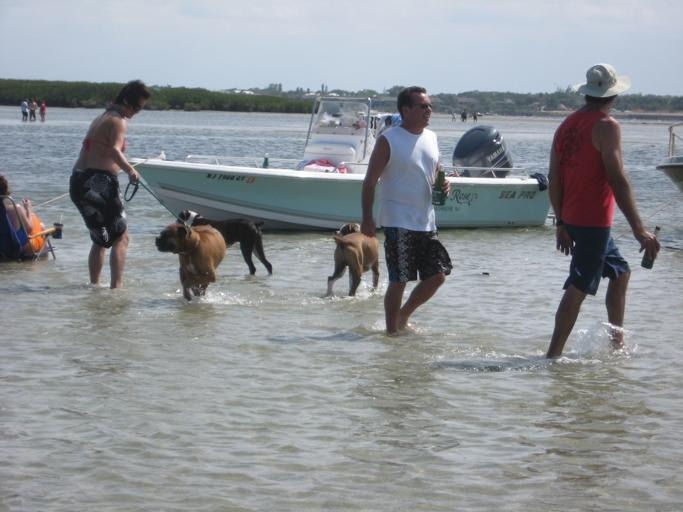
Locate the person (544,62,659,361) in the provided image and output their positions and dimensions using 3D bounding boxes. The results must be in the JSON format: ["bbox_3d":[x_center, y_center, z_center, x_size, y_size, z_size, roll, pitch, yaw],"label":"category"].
[{"bbox_3d":[2.106,-0.310,8.706,0.849,2.426,0.850,3,12,9],"label":"person"}]

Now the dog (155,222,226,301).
[{"bbox_3d":[-1.501,0.024,10.959,0.476,0.787,0.813,4,11,14],"label":"dog"}]

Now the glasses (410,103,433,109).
[{"bbox_3d":[0.721,-1.267,9.138,0.165,0.050,0.084,-5,12,-32],"label":"glasses"}]

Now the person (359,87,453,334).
[{"bbox_3d":[0.512,-0.334,9.234,0.875,2.184,0.435,-9,16,-40],"label":"person"}]

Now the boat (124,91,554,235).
[{"bbox_3d":[-0.320,-1.491,17.390,7.706,2.087,2.474,1,1,-18],"label":"boat"}]

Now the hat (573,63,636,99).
[{"bbox_3d":[2.135,-1.405,8.712,0.399,0.265,0.271,3,11,9],"label":"hat"}]

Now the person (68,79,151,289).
[{"bbox_3d":[-2.293,-0.681,10.706,0.734,2.086,0.588,3,12,10],"label":"person"}]
